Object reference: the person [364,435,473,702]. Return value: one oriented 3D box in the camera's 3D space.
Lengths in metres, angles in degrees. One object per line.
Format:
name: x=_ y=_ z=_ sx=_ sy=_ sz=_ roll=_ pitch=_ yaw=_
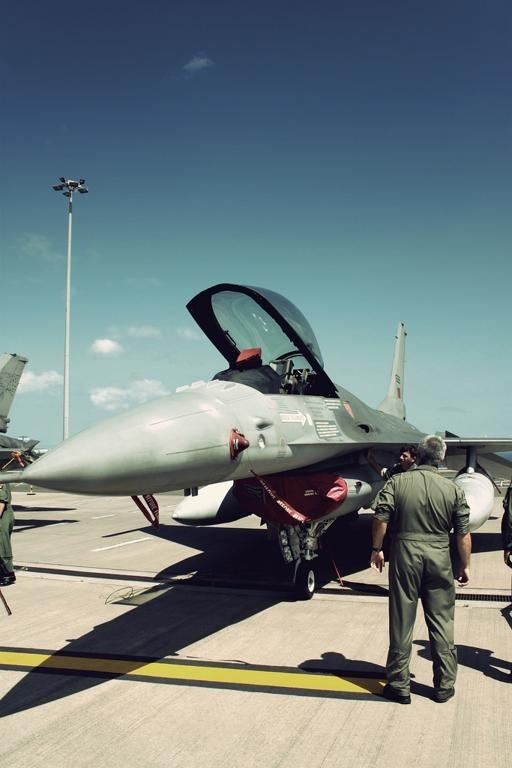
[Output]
person: x=1.126 y=1.385 z=4.135 sx=0.654 sy=1.597 sz=0.304 roll=1 pitch=-2 yaw=9
